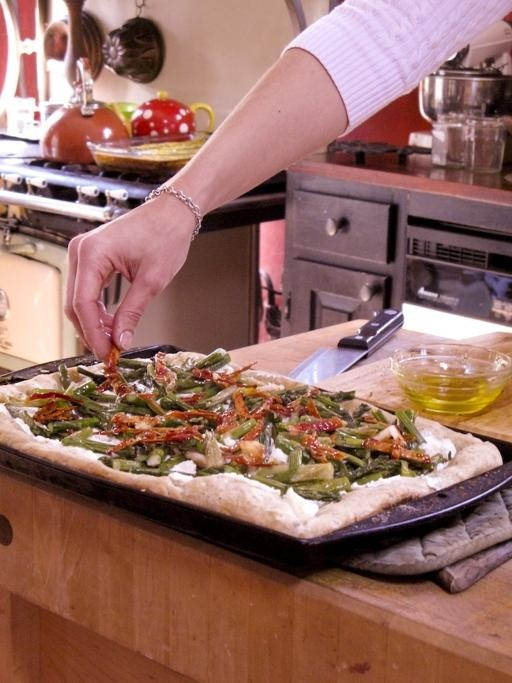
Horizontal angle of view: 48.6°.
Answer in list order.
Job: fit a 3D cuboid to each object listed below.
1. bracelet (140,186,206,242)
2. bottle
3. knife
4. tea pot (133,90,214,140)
[{"bbox_3d":[-0.076,-0.134,0.582,0.062,0.051,0.012,38,48,4],"label":"bracelet"},{"bbox_3d":[0.726,-0.709,1.977,0.298,0.167,0.182,-11,24,-25],"label":"bottle"},{"bbox_3d":[0.166,0.012,1.000,0.082,0.036,0.354,11,27,34],"label":"knife"},{"bbox_3d":[-0.331,-0.836,2.230,0.318,0.212,0.235,-4,14,-19],"label":"tea pot"}]
